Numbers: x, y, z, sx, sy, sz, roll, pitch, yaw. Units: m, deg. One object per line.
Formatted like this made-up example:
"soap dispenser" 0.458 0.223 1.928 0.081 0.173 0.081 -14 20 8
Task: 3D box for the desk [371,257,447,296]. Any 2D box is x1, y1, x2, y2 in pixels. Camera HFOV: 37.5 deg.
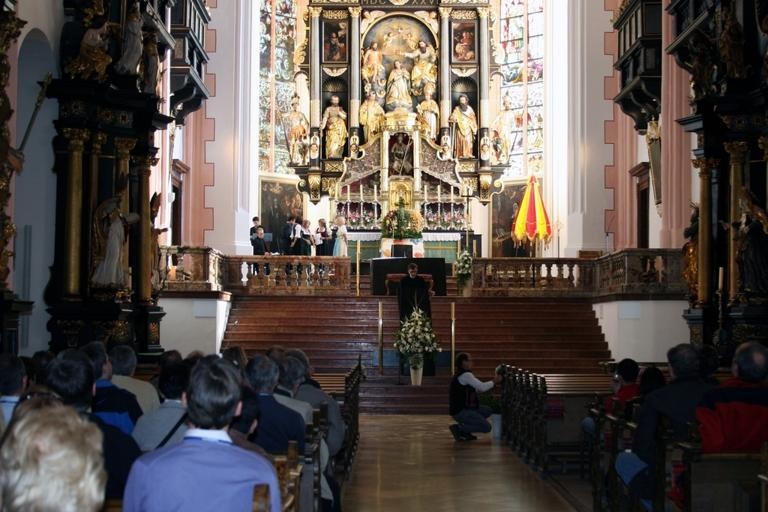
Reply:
"desk" 0.548 0.445 24.648 1.470 0.844 0.955 -1 -3 -2

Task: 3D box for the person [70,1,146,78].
"person" -3.879 -3.028 15.746 1.026 1.087 0.573 -2 9 -41

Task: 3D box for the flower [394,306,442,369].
"flower" 0.576 1.554 20.772 0.899 1.260 0.942 0 -5 -1

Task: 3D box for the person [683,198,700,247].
"person" 4.645 -0.521 17.046 0.209 0.694 0.904 1 -4 15

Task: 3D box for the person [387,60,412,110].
"person" 0.430 -4.526 30.167 0.730 1.351 0.355 2 -4 -1

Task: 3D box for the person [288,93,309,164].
"person" -2.213 -3.319 29.913 0.482 1.995 1.084 2 -4 -4

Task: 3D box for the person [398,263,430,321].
"person" 0.559 0.740 22.005 0.682 1.041 0.686 -1 -7 -9

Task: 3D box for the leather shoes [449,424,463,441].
"leather shoes" 1.092 2.700 17.033 0.134 0.289 0.271 -18 -3 14

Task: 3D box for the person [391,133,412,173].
"person" 0.462 -2.671 29.558 0.579 1.138 0.224 2 -4 -1

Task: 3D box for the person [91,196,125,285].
"person" -3.805 -0.203 15.700 0.400 1.269 0.188 3 -4 -20

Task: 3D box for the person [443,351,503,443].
"person" 1.304 2.141 16.962 0.598 1.316 0.710 1 -4 4

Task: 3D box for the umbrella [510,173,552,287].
"umbrella" 4.069 -1.309 30.966 1.106 1.925 1.151 4 4 36

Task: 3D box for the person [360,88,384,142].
"person" -0.305 -3.741 29.956 0.637 1.369 0.246 0 -4 23

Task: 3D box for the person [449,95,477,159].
"person" 2.160 -3.405 29.983 0.591 1.697 0.619 -1 -5 37

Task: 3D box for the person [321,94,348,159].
"person" -1.271 -3.395 29.767 0.668 1.693 0.451 2 -4 -3

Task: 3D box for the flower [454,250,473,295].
"flower" 1.900 0.469 25.259 0.504 0.946 0.463 3 -4 -26

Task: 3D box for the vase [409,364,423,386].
"vase" 0.597 2.202 20.640 0.306 0.410 0.318 -1 0 7
